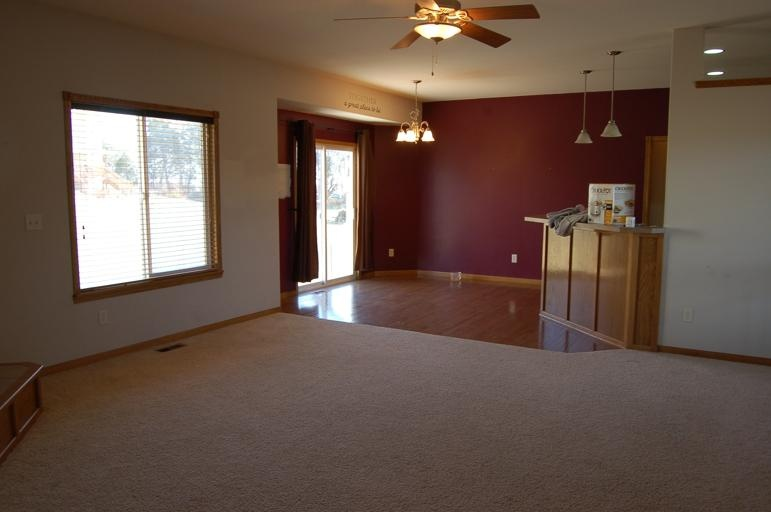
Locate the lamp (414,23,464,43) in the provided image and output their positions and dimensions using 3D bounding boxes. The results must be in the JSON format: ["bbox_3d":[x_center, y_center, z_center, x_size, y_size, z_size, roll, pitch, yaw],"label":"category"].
[{"bbox_3d":[0.462,-1.970,4.681,0.427,0.117,0.273,3,8,2],"label":"lamp"}]

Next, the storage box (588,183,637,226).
[{"bbox_3d":[2.885,-0.637,6.652,0.619,0.651,0.480,-2,3,-31],"label":"storage box"}]

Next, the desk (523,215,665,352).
[{"bbox_3d":[2.615,0.371,6.537,0.538,1.365,1.650,1,3,-17],"label":"desk"}]

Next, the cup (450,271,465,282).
[{"bbox_3d":[1.358,0.395,10.066,0.281,0.138,0.291,2,8,0],"label":"cup"}]
